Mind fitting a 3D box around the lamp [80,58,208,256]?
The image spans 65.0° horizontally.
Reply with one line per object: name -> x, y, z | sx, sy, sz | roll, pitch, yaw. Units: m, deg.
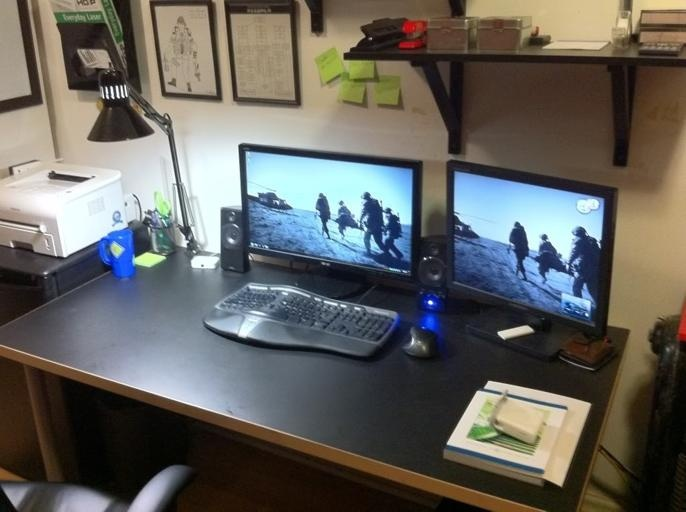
lamp -> -0.760, -0.348, 2.160 | 0.330, 0.775, 0.485 | -3, 22, -2

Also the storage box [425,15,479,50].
storage box -> 0.294, -0.635, 1.485 | 0.112, 0.069, 0.113 | 8, 29, 17

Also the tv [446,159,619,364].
tv -> 0.576, 0.014, 1.616 | 0.511, 0.490, 0.217 | 15, 28, 37

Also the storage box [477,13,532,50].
storage box -> 0.457, -0.611, 1.495 | 0.115, 0.070, 0.114 | 7, 27, 20

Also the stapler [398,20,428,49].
stapler -> 0.208, -0.648, 1.575 | 0.047, 0.069, 0.144 | 7, 29, 19

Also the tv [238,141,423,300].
tv -> -0.027, -0.134, 1.905 | 0.534, 0.373, 0.146 | 9, 26, 20

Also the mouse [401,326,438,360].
mouse -> 0.248, 0.266, 1.699 | 0.118, 0.053, 0.174 | 9, 10, 3

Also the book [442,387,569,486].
book -> 0.418, 0.445, 1.367 | 0.235, 0.084, 0.282 | 11, 26, 29

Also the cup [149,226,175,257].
cup -> -0.776, -0.061, 2.305 | 0.080, 0.104, 0.077 | 1, 34, -1
